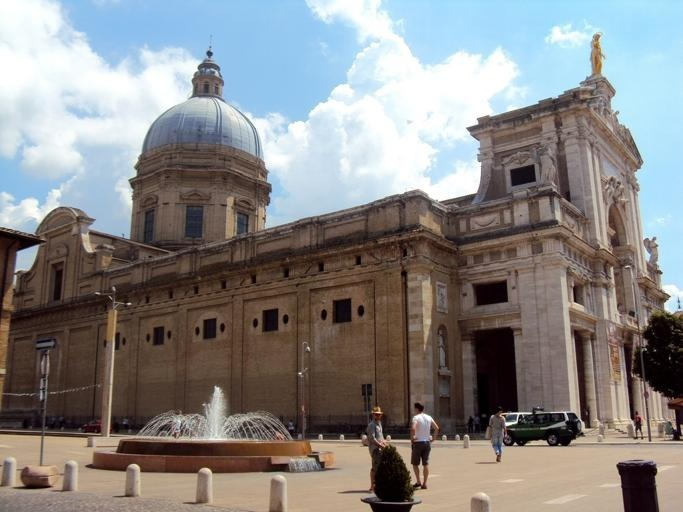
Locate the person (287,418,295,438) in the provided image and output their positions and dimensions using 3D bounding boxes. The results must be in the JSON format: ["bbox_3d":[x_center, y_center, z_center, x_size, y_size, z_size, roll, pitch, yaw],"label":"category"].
[{"bbox_3d":[-3.763,12.908,48.628,0.506,1.302,1.434,-1,-19,-4],"label":"person"}]

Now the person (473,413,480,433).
[{"bbox_3d":[9.883,12.204,47.396,0.341,1.347,1.181,-9,-20,19],"label":"person"}]

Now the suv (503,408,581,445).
[{"bbox_3d":[11.751,10.201,39.165,4.723,2.003,2.380,-10,-21,33],"label":"suv"}]

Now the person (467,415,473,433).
[{"bbox_3d":[9.429,12.218,47.155,0.453,1.164,0.429,-6,-19,13],"label":"person"}]
